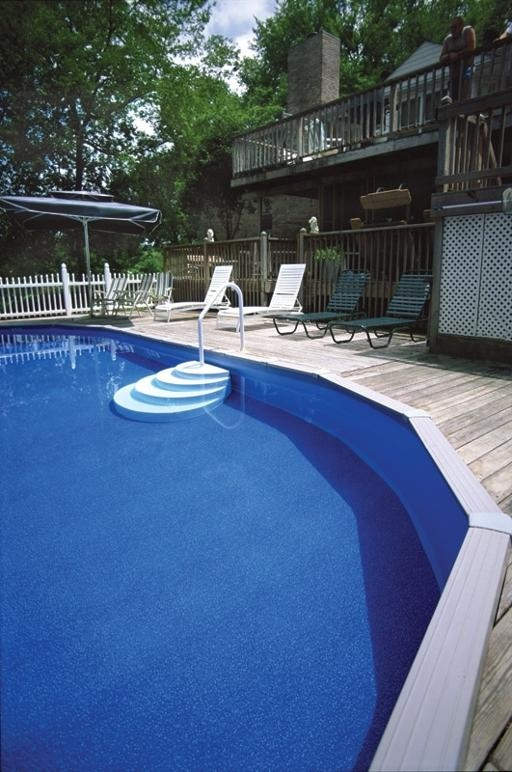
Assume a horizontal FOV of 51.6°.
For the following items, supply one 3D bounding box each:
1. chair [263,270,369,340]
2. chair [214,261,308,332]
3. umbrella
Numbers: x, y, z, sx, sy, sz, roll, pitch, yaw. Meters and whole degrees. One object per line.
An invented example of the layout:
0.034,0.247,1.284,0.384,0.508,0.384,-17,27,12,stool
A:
0.990,-1.145,8.371,1.092,0.801,0.540,9,1,-11,chair
0.157,-1.543,8.820,1.405,1.074,0.726,-7,13,-42,chair
-3.589,-2.633,11.958,3.063,2.960,3.185,7,31,3,umbrella
